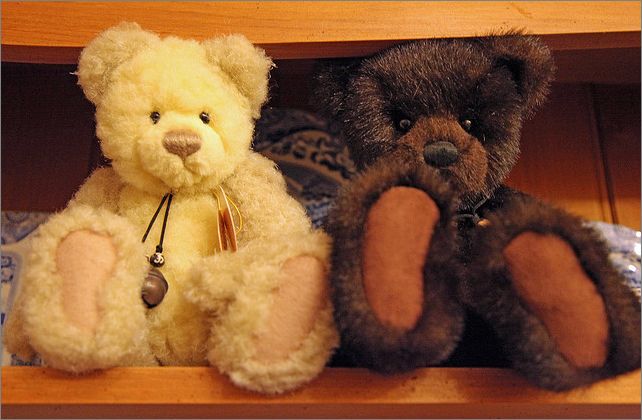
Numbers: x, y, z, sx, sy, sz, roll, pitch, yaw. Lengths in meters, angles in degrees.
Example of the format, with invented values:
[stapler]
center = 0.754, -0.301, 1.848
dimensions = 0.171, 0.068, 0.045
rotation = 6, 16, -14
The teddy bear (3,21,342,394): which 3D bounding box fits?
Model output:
[teddy bear]
center = -0.220, -0.008, 1.195
dimensions = 0.571, 0.504, 0.440
rotation = 9, 29, 3
